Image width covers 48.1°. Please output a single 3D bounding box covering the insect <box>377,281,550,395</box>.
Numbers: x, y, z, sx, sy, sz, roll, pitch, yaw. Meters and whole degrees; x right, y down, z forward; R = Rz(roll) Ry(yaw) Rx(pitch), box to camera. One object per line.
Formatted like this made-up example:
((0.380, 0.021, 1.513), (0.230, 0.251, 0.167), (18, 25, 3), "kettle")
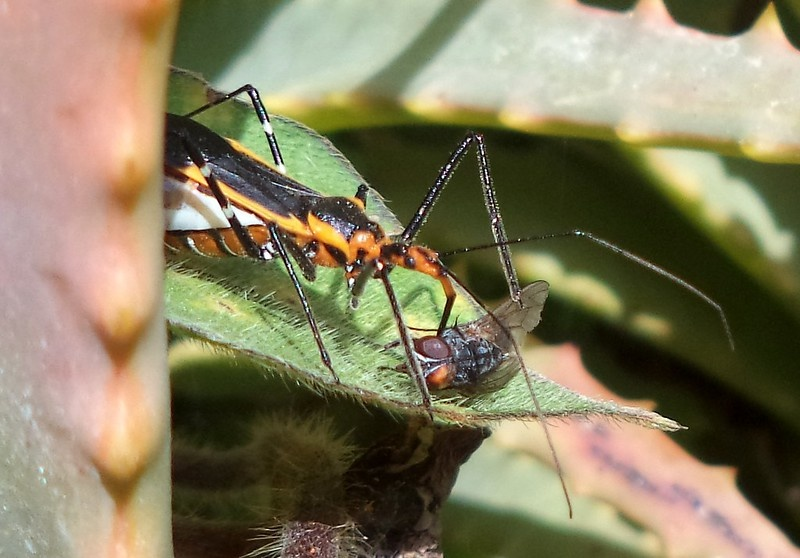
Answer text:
((0.111, 0.120, 1.580), (0.335, 0.223, 0.090), (-40, 83, -7), "insect")
